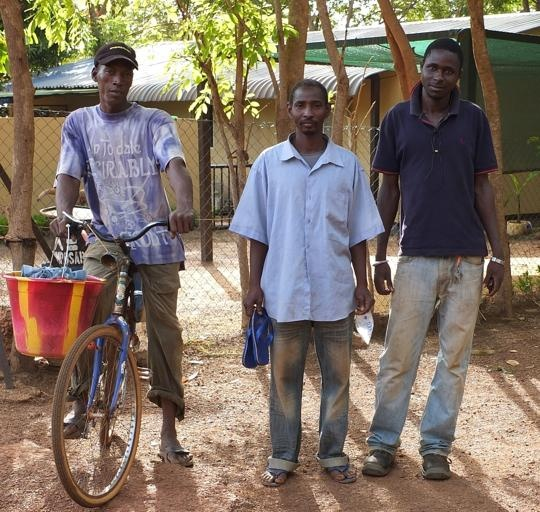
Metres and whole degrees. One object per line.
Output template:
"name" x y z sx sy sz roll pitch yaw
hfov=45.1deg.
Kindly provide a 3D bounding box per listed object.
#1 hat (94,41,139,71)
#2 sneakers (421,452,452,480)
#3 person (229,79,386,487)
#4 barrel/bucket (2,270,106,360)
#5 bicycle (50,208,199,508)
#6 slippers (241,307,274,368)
"hat" -0.790 -1.062 3.395 0.236 0.161 0.247 -4 9 -32
"sneakers" 0.876 1.103 3.413 0.149 0.120 0.124 2 8 13
"person" 0.188 0.149 3.288 0.742 2.036 0.306 1 8 6
"barrel/bucket" -0.953 0.243 2.845 0.366 0.309 0.379 8 -3 0
"bicycle" -0.770 0.474 3.149 0.473 1.352 0.882 1 8 0
"slippers" -0.059 0.409 3.297 0.151 0.293 0.066 0 -1 -7
